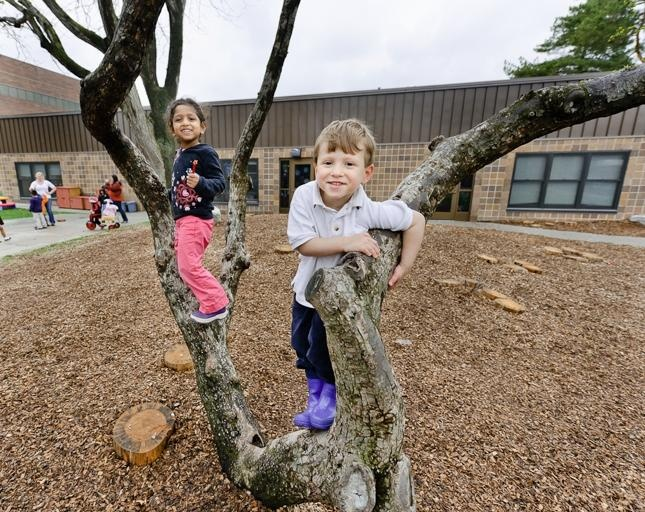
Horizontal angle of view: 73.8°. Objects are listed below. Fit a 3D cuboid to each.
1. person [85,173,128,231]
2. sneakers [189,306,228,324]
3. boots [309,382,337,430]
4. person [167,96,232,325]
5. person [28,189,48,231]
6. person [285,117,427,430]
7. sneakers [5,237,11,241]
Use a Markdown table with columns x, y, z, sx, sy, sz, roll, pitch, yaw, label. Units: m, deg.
| x | y | z | sx | sy | sz | roll | pitch | yaw | label |
| --- | --- | --- | --- | --- | --- | --- | --- | --- | --- |
| -6.014 | -1.474 | 11.906 | 0.863 | 1.388 | 1.794 | -6 | 17 | -18 | person |
| -0.988 | 0.514 | 3.707 | 0.273 | 0.124 | 0.110 | 4 | -1 | -35 | sneakers |
| 0.025 | 1.007 | 2.983 | 0.152 | 0.222 | 0.488 | 3 | -2 | 9 | boots |
| -1.100 | -0.452 | 3.858 | 0.515 | 1.865 | 0.906 | -6 | 17 | -17 | person |
| -7.426 | -1.227 | 11.155 | 0.298 | 1.015 | 0.910 | -11 | 19 | -32 | person |
| 0.200 | 0.134 | 2.963 | 0.852 | 2.073 | 0.654 | -2 | 16 | -5 | person |
| -6.990 | -0.376 | 9.510 | 0.149 | 0.071 | 0.052 | -3 | 8 | 29 | sneakers |
